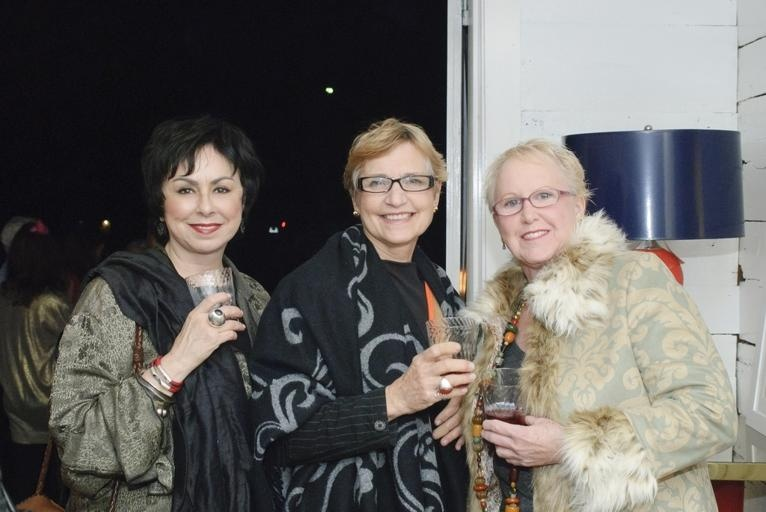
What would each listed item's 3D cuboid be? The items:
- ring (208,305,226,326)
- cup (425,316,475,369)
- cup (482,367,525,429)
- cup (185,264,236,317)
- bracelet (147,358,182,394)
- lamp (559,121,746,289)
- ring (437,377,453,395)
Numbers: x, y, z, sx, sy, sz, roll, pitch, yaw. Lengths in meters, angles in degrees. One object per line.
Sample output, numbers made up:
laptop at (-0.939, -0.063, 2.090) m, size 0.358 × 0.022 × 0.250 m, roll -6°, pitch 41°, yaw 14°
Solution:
ring at (-0.704, 0.264, 3.352) m, size 0.072 × 0.076 × 0.024 m, roll -2°, pitch -6°, yaw -22°
cup at (0.286, 0.371, 3.205) m, size 0.176 × 0.224 × 0.173 m, roll -1°, pitch -15°, yaw 0°
cup at (0.486, 0.571, 3.162) m, size 0.184 × 0.237 × 0.187 m, roll -2°, pitch -14°, yaw -1°
cup at (-0.750, 0.150, 3.389) m, size 0.163 × 0.191 × 0.171 m, roll -5°, pitch -1°, yaw 0°
bracelet at (-0.921, 0.514, 3.340) m, size 0.058 × 0.139 × 0.132 m, roll -35°, pitch 31°, yaw 3°
lamp at (1.451, -0.299, 4.043) m, size 0.865 × 0.931 × 0.847 m, roll 8°, pitch -3°, yaw -40°
ring at (0.246, 0.522, 3.137) m, size 0.050 × 0.063 × 0.030 m, roll -1°, pitch -3°, yaw -4°
